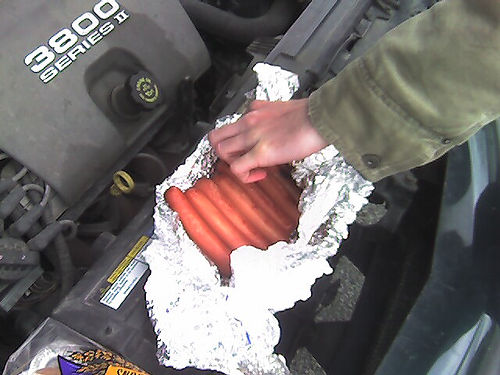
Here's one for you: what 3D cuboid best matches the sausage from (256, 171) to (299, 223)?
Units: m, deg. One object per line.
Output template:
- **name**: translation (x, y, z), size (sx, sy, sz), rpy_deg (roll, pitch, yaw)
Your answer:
- **sausage**: translation (0.072, 0.025, 1.079), size (0.087, 0.023, 0.144), rpy_deg (-32, 83, -21)
